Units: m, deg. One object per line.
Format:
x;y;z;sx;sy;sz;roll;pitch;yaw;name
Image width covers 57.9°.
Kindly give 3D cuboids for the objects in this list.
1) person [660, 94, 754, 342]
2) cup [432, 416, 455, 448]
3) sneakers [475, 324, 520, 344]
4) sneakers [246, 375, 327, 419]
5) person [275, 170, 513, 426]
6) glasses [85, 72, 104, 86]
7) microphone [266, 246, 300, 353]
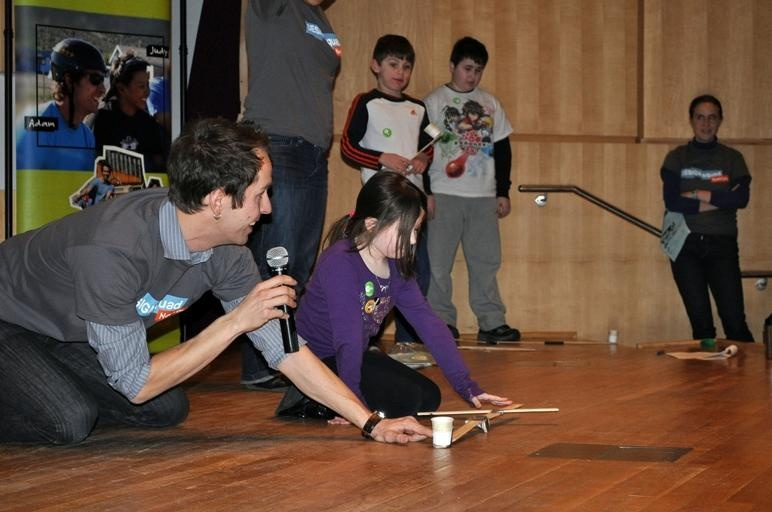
2.440;-0.308;5.267;0.637;1.793;0.448;3;5;-5;person
0.214;0.661;2.677;0.099;0.112;0.105;1;-3;0;cup
0.806;0.554;5.059;0.323;0.144;0.122;-6;-5;18;sneakers
-0.466;0.630;3.228;0.485;0.211;0.160;1;0;20;sneakers
0.001;0.211;3.007;0.969;1.059;0.761;8;3;30;person
-1.740;-1.057;4.190;0.071;0.075;0.029;-5;0;6;glasses
-0.399;0.173;2.719;0.135;0.419;0.239;3;5;-8;microphone
